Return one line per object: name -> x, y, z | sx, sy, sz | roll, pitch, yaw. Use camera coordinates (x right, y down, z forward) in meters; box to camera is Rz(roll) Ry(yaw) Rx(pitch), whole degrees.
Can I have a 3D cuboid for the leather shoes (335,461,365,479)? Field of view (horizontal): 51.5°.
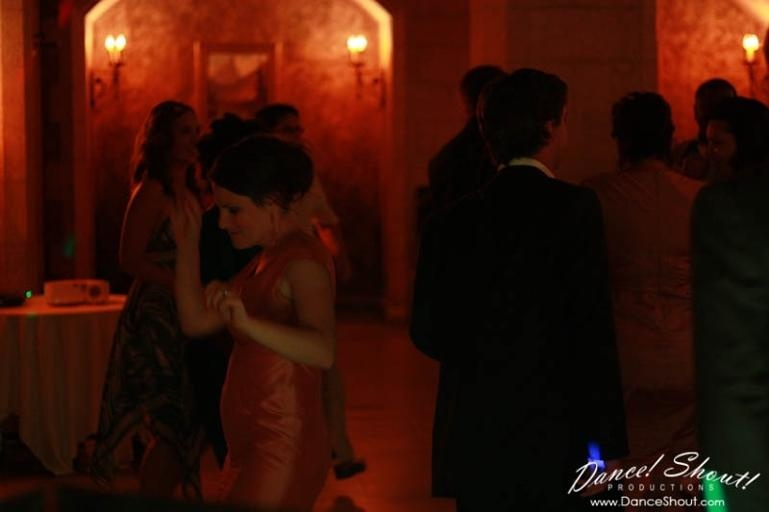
leather shoes -> -0.208, 1.277, 4.756 | 0.157, 0.053, 0.102 | -10, 24, -19
